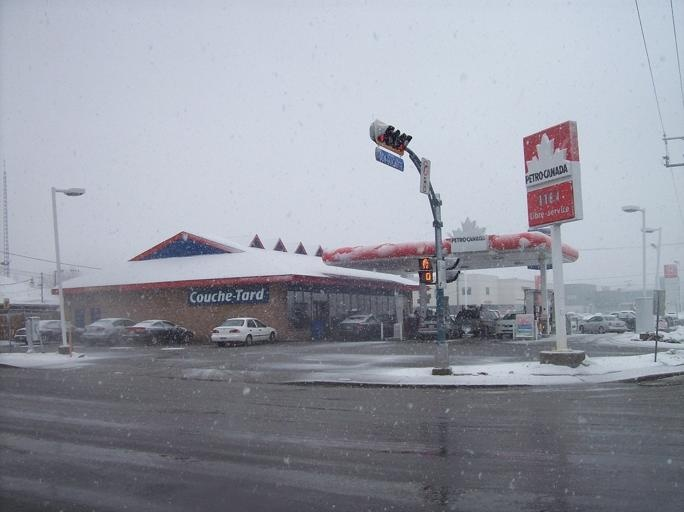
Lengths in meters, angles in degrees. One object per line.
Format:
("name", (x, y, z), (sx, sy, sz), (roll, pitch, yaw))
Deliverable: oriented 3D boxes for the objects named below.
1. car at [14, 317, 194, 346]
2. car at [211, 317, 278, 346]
("car", (-12.950, 4.210, 39.751), (2.015, 2.171, 5.760), (-2, -4, 22))
("car", (-5.211, 4.010, 38.349), (1.398, 1.450, 3.672), (-5, -6, 31))
